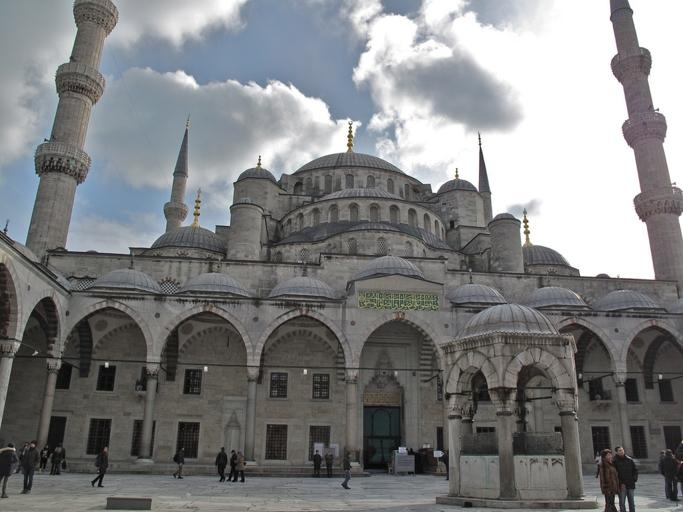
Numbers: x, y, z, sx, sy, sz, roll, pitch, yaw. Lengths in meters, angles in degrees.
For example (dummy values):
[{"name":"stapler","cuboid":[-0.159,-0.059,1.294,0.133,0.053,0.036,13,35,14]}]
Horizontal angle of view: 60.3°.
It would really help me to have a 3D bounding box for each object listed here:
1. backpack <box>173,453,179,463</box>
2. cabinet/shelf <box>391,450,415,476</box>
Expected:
[{"name":"backpack","cuboid":[-6.383,7.790,22.828,0.175,0.321,0.509,8,-23,-16]},{"name":"cabinet/shelf","cuboid":[2.687,9.236,26.219,1.124,1.015,0.826,2,-33,-5]}]
